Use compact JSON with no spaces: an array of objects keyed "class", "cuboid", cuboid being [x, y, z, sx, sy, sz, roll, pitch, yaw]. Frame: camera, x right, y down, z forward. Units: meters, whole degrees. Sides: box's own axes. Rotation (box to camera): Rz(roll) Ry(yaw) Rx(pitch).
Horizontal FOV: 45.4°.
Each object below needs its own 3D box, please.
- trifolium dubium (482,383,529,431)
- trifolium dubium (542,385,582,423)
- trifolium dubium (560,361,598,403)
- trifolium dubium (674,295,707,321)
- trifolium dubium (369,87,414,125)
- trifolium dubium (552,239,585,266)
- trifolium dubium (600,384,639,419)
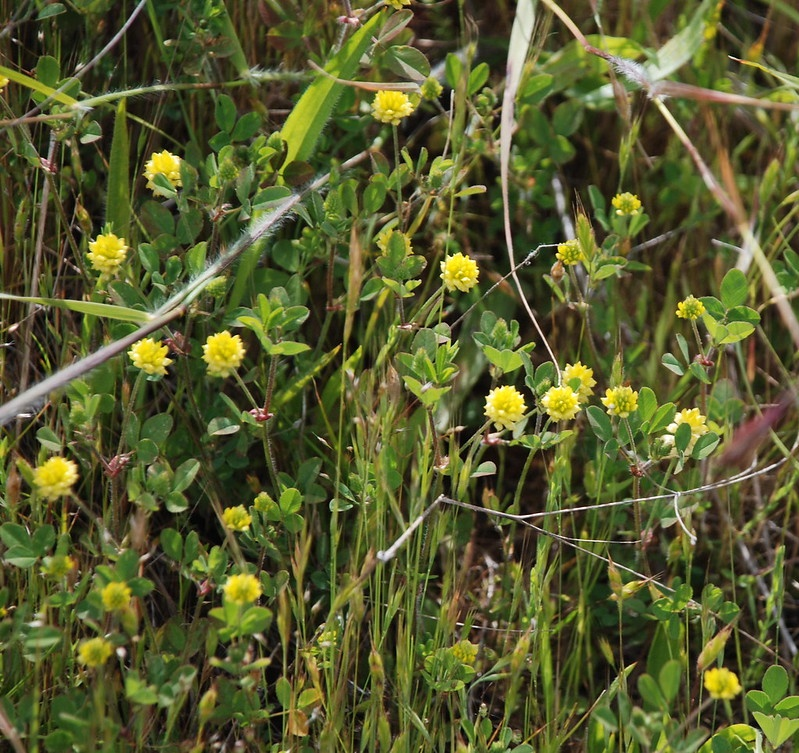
[{"class":"trifolium dubium","cuboid":[0.181,0.051,1.628,0.061,0.068,0.080,2,85,-18]},{"class":"trifolium dubium","cuboid":[0.278,0.047,1.651,0.061,0.049,0.045,3,43,-6]},{"class":"trifolium dubium","cuboid":[0.326,0.003,1.717,0.062,0.031,0.072,27,88,-4]},{"class":"trifolium dubium","cuboid":[0.550,-0.122,1.801,0.046,0.048,0.050,-14,28,-26]},{"class":"trifolium dubium","cuboid":[-0.013,-0.516,1.869,0.070,0.053,0.089,-14,84,-5]},{"class":"trifolium dubium","cuboid":[0.333,-0.240,1.870,0.048,0.032,0.056,-21,93,-15]},{"class":"trifolium dubium","cuboid":[0.395,0.057,1.716,0.053,0.059,0.061,26,66,13]}]
